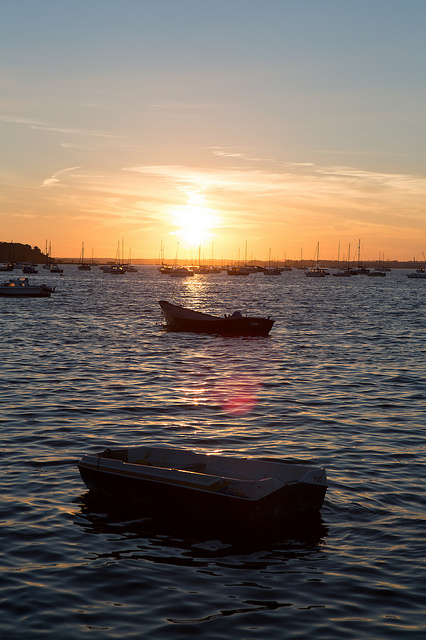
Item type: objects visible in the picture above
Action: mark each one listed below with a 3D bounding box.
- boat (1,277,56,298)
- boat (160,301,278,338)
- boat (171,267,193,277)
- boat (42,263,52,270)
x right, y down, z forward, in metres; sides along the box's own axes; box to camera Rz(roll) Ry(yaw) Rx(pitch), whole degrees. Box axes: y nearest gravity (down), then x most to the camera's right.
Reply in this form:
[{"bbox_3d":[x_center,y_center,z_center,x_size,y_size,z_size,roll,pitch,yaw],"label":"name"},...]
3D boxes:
[{"bbox_3d":[-19.830,-3.107,97.699,4.959,1.441,5.319,-2,8,-18],"label":"boat"},{"bbox_3d":[0.363,0.105,50.436,2.243,1.520,6.660,0,6,-45],"label":"boat"},{"bbox_3d":[-8.149,-12.425,242.857,4.853,2.726,7.956,2,6,7],"label":"boat"},{"bbox_3d":[-47.389,-15.080,267.012,3.732,1.710,5.019,1,9,-3],"label":"boat"}]
